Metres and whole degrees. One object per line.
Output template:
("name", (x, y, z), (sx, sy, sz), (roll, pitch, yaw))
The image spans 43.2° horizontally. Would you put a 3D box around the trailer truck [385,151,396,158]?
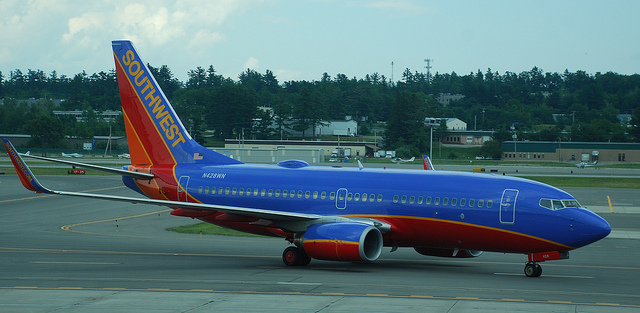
("trailer truck", (21.820, -0.739, 251.771), (3.365, 1.732, 4.404), (-1, -5, 7))
